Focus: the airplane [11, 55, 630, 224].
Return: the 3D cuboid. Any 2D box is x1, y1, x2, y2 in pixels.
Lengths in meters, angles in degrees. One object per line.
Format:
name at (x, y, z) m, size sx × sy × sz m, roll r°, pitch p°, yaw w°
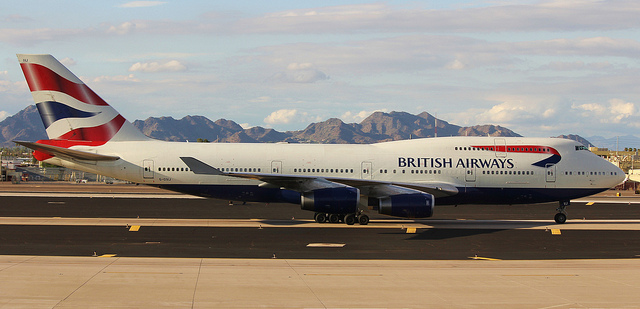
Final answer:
airplane at (0.565, -1.542, 80.441) m, size 60.092 × 16.366 × 5.610 m, roll 0°, pitch 6°, yaw 0°
